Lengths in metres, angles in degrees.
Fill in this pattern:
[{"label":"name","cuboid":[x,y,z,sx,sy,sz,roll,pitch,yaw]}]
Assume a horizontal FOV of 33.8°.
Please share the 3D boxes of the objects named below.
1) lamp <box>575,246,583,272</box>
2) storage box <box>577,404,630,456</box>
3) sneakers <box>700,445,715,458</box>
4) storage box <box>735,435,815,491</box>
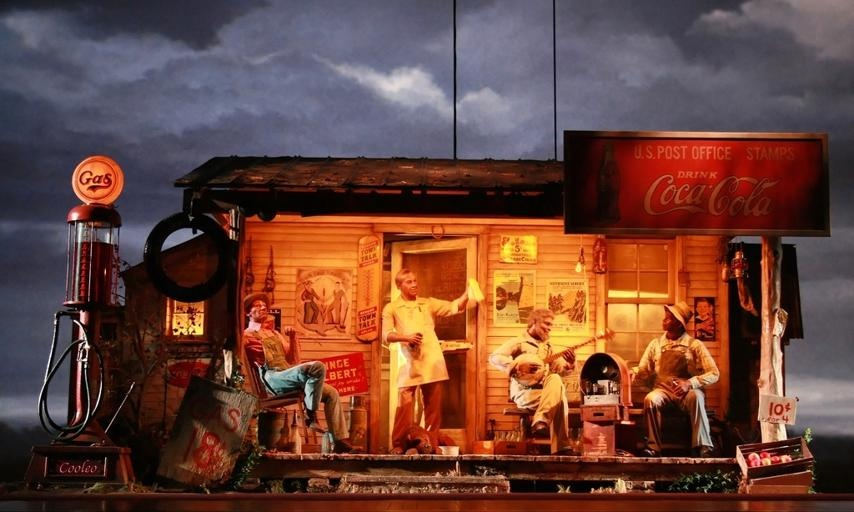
[{"label":"lamp","cuboid":[3.602,0.084,33.554,0.227,0.592,0.134,-1,-6,4]},{"label":"storage box","cuboid":[3.900,3.982,32.090,1.248,1.308,1.137,0,-6,3]},{"label":"sneakers","cuboid":[6.455,4.547,32.764,0.335,0.142,0.205,-5,-3,-37]},{"label":"storage box","cuboid":[7.677,4.680,31.517,1.482,0.773,1.369,-4,2,7]}]
